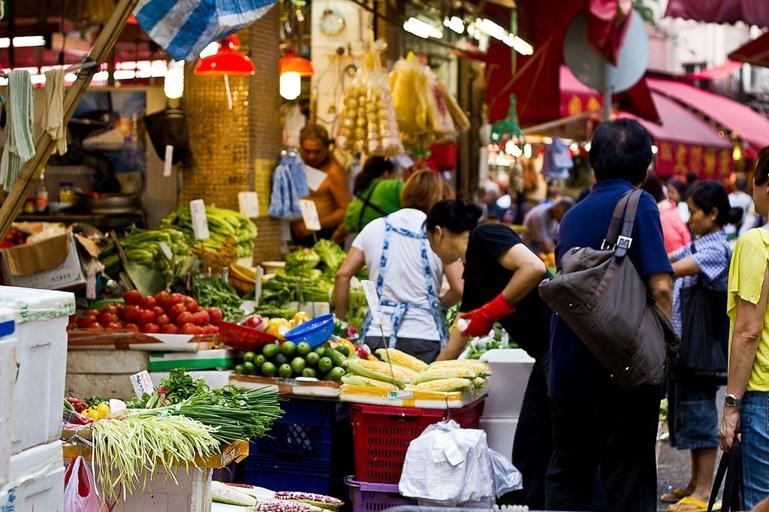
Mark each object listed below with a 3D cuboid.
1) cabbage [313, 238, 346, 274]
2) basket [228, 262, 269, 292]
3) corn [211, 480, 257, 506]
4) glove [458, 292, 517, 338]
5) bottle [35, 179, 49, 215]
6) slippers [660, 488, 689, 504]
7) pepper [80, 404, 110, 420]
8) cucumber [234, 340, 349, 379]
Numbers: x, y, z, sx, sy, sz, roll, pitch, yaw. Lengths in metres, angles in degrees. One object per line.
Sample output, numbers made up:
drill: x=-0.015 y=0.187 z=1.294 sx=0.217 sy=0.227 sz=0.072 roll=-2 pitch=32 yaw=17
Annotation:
cabbage: x=-0.565 y=0.011 z=9.097 sx=0.207 sy=0.135 sz=0.479 roll=-9 pitch=40 yaw=-7
basket: x=-1.322 y=0.168 z=8.304 sx=0.304 sy=0.235 sz=0.274 roll=19 pitch=-1 yaw=-9
corn: x=-1.046 y=1.633 z=5.948 sx=0.319 sy=0.093 sz=0.111 roll=23 pitch=-18 yaw=1
glove: x=0.698 y=0.394 z=5.848 sx=0.364 sy=0.282 sz=0.213 roll=2 pitch=0 yaw=11
bottle: x=-4.020 y=-0.708 z=10.057 sx=0.144 sy=0.349 sz=0.680 roll=2 pitch=1 yaw=-22
slippers: x=2.471 y=2.006 z=7.282 sx=0.261 sy=0.082 sz=0.108 roll=-5 pitch=-1 yaw=2
pepper: x=-1.884 y=1.023 z=5.611 sx=0.109 sy=0.079 sz=0.144 roll=-15 pitch=-14 yaw=-28
cucumber: x=-0.694 y=0.751 z=6.313 sx=0.819 sy=0.257 sz=0.193 roll=2 pitch=0 yaw=-2
